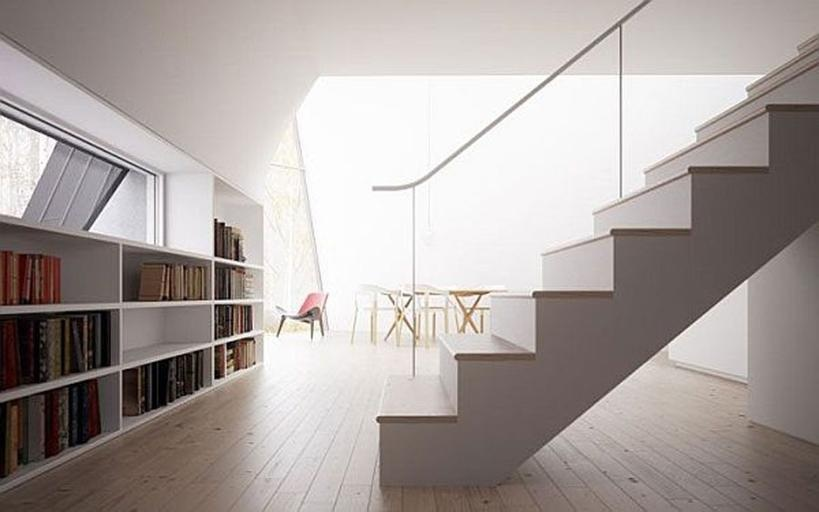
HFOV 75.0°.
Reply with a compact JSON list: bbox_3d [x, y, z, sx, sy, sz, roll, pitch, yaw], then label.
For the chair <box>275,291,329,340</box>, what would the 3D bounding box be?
[{"bbox_3d":[-1.859,0.980,9.194,0.835,0.686,0.882,-1,1,0],"label":"chair"}]
